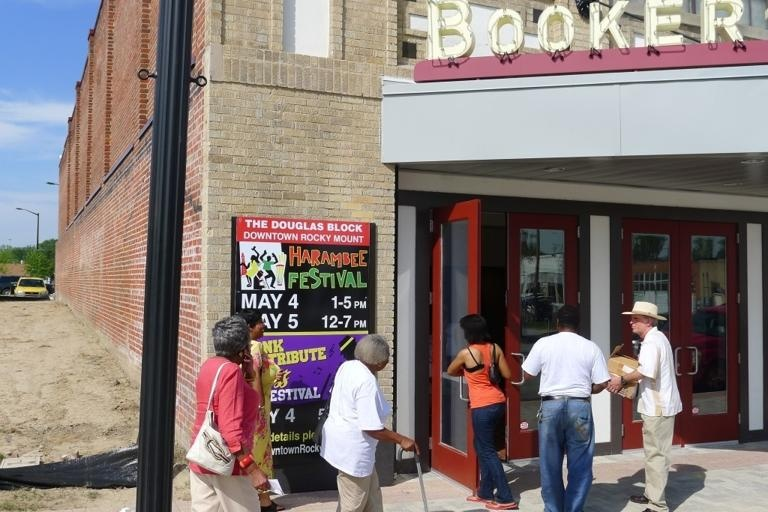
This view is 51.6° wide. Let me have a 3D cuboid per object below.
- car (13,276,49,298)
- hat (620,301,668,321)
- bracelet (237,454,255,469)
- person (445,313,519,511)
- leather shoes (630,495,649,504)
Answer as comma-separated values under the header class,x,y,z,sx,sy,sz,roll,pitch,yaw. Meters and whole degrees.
class,x,y,z,sx,sy,sz,roll,pitch,yaw
car,-23.737,2.120,53.389,1.954,1.244,3.043,0,-2,-26
hat,3.781,0.787,11.521,0.597,0.233,0.555,9,-7,4
bracelet,-1.494,2.222,8.676,0.168,0.127,0.192,-16,2,22
person,1.442,2.231,11.402,0.839,2.801,0.418,-1,-2,8
leather shoes,3.767,3.587,11.728,0.244,0.104,0.095,6,0,32
